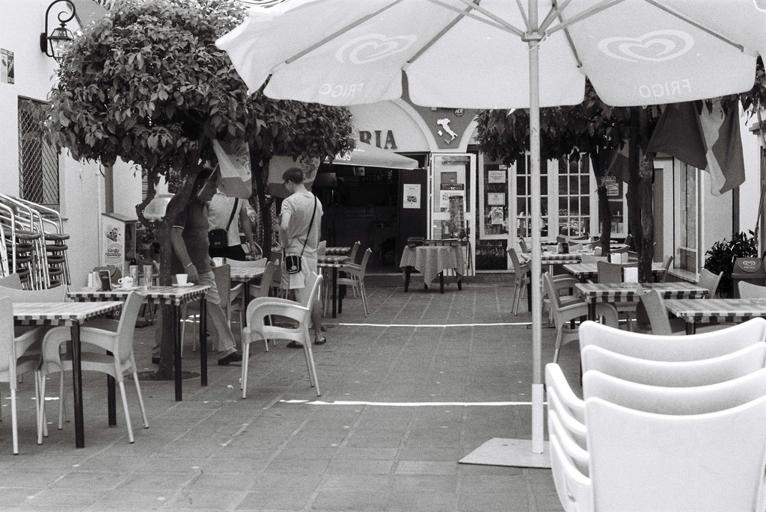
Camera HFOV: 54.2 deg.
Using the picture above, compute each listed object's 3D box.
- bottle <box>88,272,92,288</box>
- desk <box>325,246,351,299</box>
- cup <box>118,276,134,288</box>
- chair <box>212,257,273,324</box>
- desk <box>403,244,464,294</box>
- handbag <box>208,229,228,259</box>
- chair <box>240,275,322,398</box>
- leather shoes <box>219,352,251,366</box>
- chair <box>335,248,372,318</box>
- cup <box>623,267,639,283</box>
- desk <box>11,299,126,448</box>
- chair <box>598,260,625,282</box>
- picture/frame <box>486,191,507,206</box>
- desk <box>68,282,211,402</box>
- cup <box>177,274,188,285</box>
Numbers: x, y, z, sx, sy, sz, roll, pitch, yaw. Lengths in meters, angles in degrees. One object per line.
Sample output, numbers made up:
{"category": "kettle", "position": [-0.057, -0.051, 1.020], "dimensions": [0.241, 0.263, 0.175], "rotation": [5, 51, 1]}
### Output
{"category": "bottle", "position": [-3.078, 0.253, 7.875], "dimensions": [0.020, 0.150, 0.096], "rotation": [-4, 3, -34]}
{"category": "desk", "position": [-0.868, 0.317, 14.087], "dimensions": [0.526, 0.667, 0.986], "rotation": [-1, 11, 2]}
{"category": "cup", "position": [-2.795, 0.281, 8.141], "dimensions": [0.154, 0.130, 0.119], "rotation": [-3, 7, -32]}
{"category": "chair", "position": [-1.973, 0.572, 10.744], "dimensions": [0.736, 0.769, 0.856], "rotation": [-27, -4, 36]}
{"category": "desk", "position": [1.195, 0.182, 17.420], "dimensions": [1.427, 0.998, 1.560], "rotation": [-6, 11, -18]}
{"category": "handbag", "position": [-3.107, -0.212, 13.992], "dimensions": [0.432, 0.598, 0.315], "rotation": [-1, -17, -4]}
{"category": "chair", "position": [-1.178, 0.857, 8.678], "dimensions": [1.132, 1.703, 1.143], "rotation": [2, 0, -6]}
{"category": "leather shoes", "position": [-1.879, 1.306, 9.569], "dimensions": [0.423, 0.198, 0.161], "rotation": [-12, 6, -12]}
{"category": "chair", "position": [-0.545, 0.433, 14.324], "dimensions": [0.992, 1.551, 1.045], "rotation": [1, 1, 1]}
{"category": "cup", "position": [2.589, 0.195, 7.853], "dimensions": [0.144, 0.156, 0.079], "rotation": [0, 5, 2]}
{"category": "desk", "position": [-2.729, 1.044, 6.677], "dimensions": [0.791, 1.033, 1.054], "rotation": [1, -5, 8]}
{"category": "chair", "position": [2.709, 0.184, 8.921], "dimensions": [0.242, 0.374, 0.205], "rotation": [-5, 7, -44]}
{"category": "picture/frame", "position": [3.145, -1.588, 20.907], "dimensions": [0.384, 0.403, 0.271], "rotation": [-1, -1, 5]}
{"category": "desk", "position": [-2.743, 0.968, 8.212], "dimensions": [1.224, 1.306, 1.405], "rotation": [4, -6, -24]}
{"category": "cup", "position": [-2.271, 0.257, 8.400], "dimensions": [0.108, 0.122, 0.122], "rotation": [1, 2, 11]}
